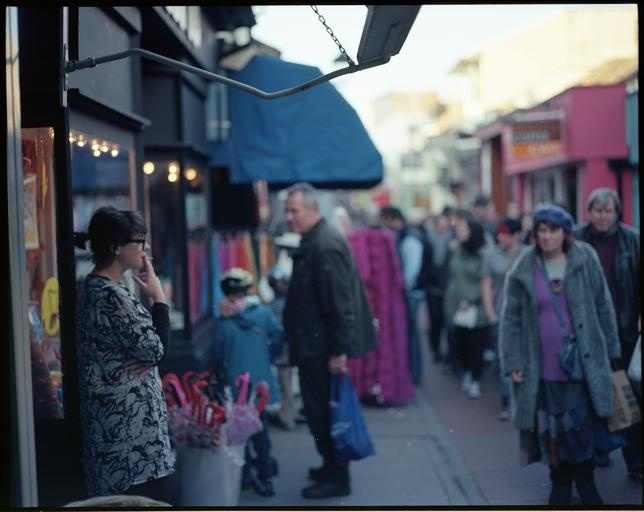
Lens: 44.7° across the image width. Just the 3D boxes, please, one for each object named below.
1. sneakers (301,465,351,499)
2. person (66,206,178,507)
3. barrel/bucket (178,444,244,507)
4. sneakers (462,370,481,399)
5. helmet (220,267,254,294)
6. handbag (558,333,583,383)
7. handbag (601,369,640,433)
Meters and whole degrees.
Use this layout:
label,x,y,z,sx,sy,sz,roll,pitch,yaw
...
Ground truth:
label,x,y,z,sx,sy,sz,roll,pitch,yaw
sneakers,0.038,1.579,5.541,0.355,0.309,0.164,2,1,0
person,-1.321,0.705,5.226,0.628,1.913,0.345,-5,2,-19
barrel/bucket,-0.774,1.523,5.428,0.342,0.360,0.427,0,-8,-4
sneakers,1.033,0.894,5.432,0.074,0.106,0.233,0,-38,10
helmet,-0.585,0.169,5.308,0.146,0.227,0.076,11,-1,0
handbag,1.723,0.707,5.386,0.182,0.294,0.097,4,-8,4
handbag,2.049,0.995,5.408,0.131,0.440,0.275,-11,11,30
